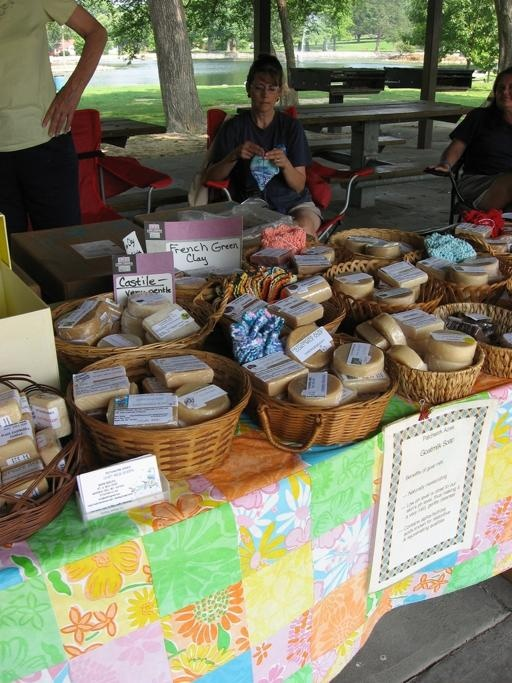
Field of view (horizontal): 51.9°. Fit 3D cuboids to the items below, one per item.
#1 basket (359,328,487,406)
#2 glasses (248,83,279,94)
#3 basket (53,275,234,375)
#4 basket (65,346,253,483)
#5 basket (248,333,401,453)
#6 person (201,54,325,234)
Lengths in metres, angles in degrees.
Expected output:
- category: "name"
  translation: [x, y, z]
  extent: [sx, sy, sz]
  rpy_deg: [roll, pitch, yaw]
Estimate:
- category: "basket"
  translation: [0.291, 0.035, 0.949]
  extent: [0.161, 0.052, 0.129]
  rpy_deg: [15, 26, 32]
- category: "glasses"
  translation: [0.052, -1.374, 2.872]
  extent: [0.099, 0.025, 0.092]
  rpy_deg: [0, 6, 3]
- category: "basket"
  translation: [-0.204, -0.027, 1.093]
  extent: [0.290, 0.088, 0.274]
  rpy_deg: [-13, 19, -34]
- category: "basket"
  translation: [-0.155, 0.068, 0.783]
  extent: [0.219, 0.072, 0.214]
  rpy_deg: [-10, 24, -29]
- category: "basket"
  translation: [0.093, 0.090, 0.824]
  extent: [0.163, 0.051, 0.149]
  rpy_deg: [-6, 22, 12]
- category: "person"
  translation: [0.027, -1.120, 2.948]
  extent: [0.851, 0.871, 0.660]
  rpy_deg: [10, 30, 23]
